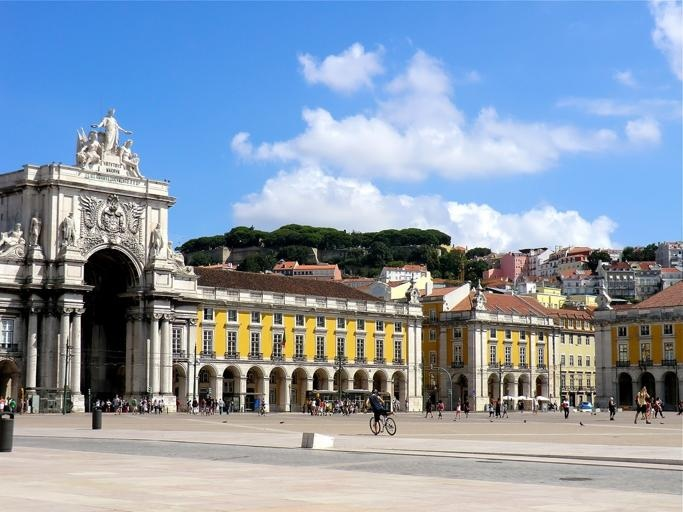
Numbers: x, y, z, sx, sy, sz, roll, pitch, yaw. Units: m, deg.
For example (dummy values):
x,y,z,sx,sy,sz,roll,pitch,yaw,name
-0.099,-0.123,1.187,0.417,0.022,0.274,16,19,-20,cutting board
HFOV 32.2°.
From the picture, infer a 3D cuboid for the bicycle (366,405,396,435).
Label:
x,y,z,sx,sy,sz,roll,pitch,yaw,name
1.895,8.622,60.671,2.334,1.391,1.171,-6,-11,37,bicycle
